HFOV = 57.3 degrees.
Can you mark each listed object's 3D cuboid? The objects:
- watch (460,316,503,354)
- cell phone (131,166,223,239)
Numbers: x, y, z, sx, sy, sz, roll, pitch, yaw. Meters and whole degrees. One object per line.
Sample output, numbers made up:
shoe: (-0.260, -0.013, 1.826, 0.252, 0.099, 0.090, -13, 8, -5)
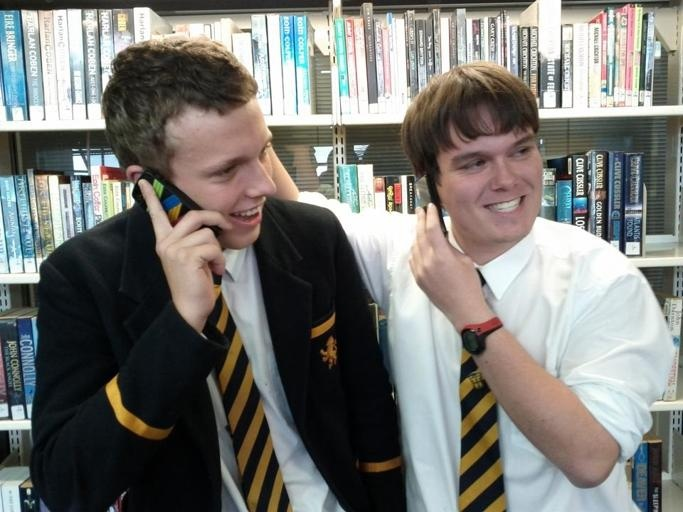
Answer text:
watch: (0.367, 0.209, 1.647, 0.058, 0.106, 0.096, 11, 25, 40)
cell phone: (-0.445, -0.125, 1.696, 0.132, 0.270, 0.063, -46, -1, 2)
